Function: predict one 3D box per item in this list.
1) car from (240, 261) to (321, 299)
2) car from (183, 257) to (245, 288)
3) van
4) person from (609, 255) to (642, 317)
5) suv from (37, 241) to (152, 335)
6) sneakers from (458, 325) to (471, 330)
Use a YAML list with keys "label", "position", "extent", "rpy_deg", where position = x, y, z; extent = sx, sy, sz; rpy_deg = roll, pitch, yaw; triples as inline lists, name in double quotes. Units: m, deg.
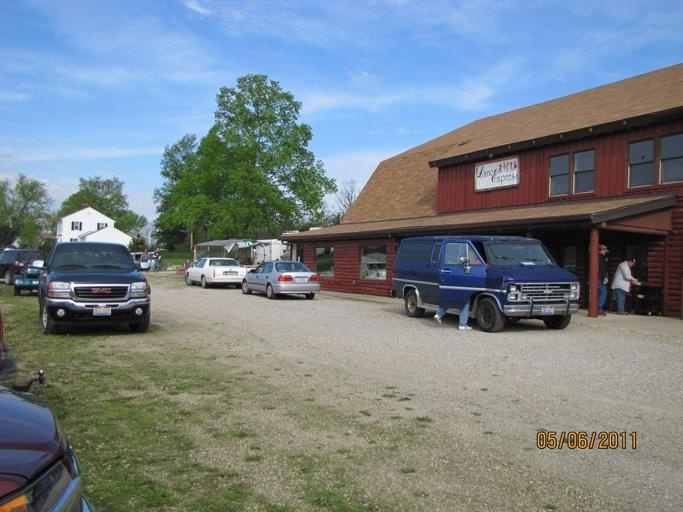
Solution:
- label: "car"
  position: [-2.741, 0.978, 22.803]
  extent: [3.342, 1.514, 1.460]
  rpy_deg: [3, 4, 41]
- label: "car"
  position: [-6.914, 0.906, 29.151]
  extent: [3.131, 1.563, 1.515]
  rpy_deg: [3, 3, 35]
- label: "van"
  position: [3.698, 0.649, 14.707]
  extent: [2.512, 1.924, 4.452]
  rpy_deg: [0, -4, -27]
- label: "person"
  position: [9.152, 0.968, 17.217]
  extent: [0.818, 1.722, 1.400]
  rpy_deg: [3, 3, 29]
- label: "suv"
  position: [-5.653, 0.711, 12.402]
  extent: [1.675, 1.356, 2.986]
  rpy_deg: [2, -6, -23]
- label: "sneakers"
  position: [3.162, 1.833, 13.546]
  extent: [0.349, 0.150, 0.125]
  rpy_deg: [-2, 5, -19]
